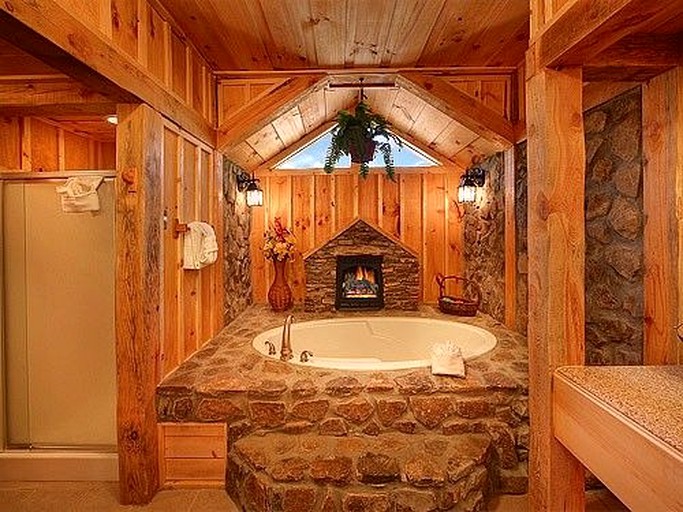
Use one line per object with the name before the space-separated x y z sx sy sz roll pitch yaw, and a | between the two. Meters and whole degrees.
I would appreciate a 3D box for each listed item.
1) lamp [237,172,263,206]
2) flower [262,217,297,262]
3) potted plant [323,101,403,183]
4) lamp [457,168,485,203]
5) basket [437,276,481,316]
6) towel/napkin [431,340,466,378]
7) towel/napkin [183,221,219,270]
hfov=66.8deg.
lamp | -0.989 -0.698 5.569 0.238 0.391 0.176 -2 -9 2
flower | -0.740 -0.204 5.797 0.322 0.463 0.340 3 14 -41
potted plant | 0.242 -1.129 4.830 0.684 0.656 0.585 -5 16 -27
lamp | 1.386 -0.740 5.550 0.258 0.397 0.465 -1 10 4
basket | 1.285 0.446 5.669 0.356 0.439 0.618 -4 5 -41
towel/napkin | 0.791 0.775 3.890 0.252 0.263 0.069 0 -38 -1
towel/napkin | -1.164 -0.089 4.312 0.209 0.384 0.377 -6 3 7
